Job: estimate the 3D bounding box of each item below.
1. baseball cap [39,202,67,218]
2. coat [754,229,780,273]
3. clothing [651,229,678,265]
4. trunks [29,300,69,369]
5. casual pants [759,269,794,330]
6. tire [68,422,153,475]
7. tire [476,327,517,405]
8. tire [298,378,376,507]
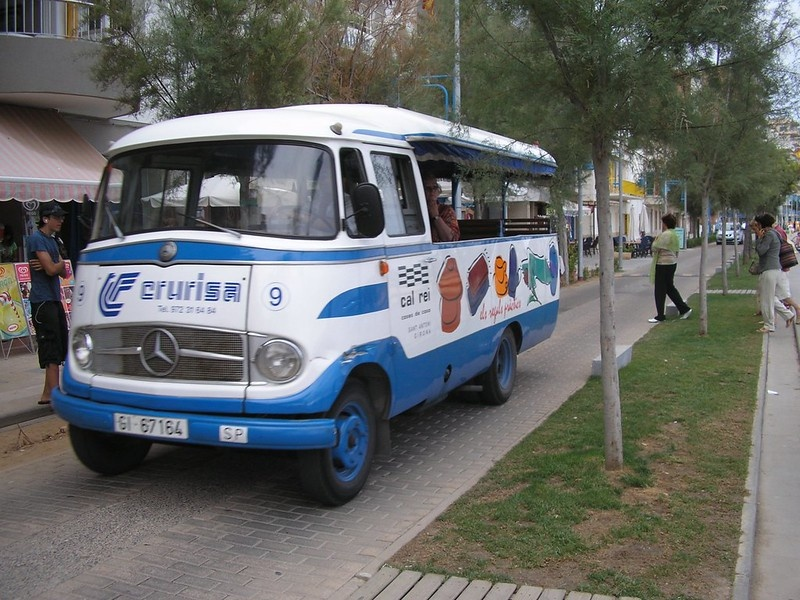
[{"bbox_3d":[-4.612,-1.157,8.133,0.334,0.214,0.239,-9,4,2],"label":"baseball cap"},{"bbox_3d":[7.536,-0.990,12.754,0.554,0.914,0.722,0,3,28],"label":"coat"},{"bbox_3d":[6.162,-1.212,14.463,0.697,0.812,0.633,-1,6,8],"label":"clothing"},{"bbox_3d":[-4.653,0.417,8.168,0.301,0.922,0.550,-6,-2,-17],"label":"trunks"},{"bbox_3d":[7.536,0.003,12.529,0.752,1.233,0.481,-6,7,-33],"label":"casual pants"},{"bbox_3d":[-2.682,1.373,5.722,0.201,0.632,0.598,-4,8,14],"label":"tire"},{"bbox_3d":[1.256,0.892,8.245,0.319,1.128,0.963,0,5,31],"label":"tire"},{"bbox_3d":[-0.544,1.178,5.120,0.358,1.259,1.037,-4,-3,26],"label":"tire"}]
